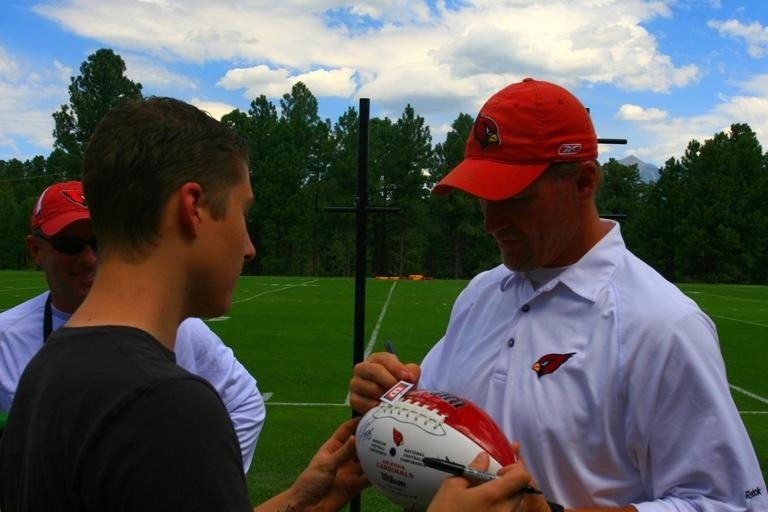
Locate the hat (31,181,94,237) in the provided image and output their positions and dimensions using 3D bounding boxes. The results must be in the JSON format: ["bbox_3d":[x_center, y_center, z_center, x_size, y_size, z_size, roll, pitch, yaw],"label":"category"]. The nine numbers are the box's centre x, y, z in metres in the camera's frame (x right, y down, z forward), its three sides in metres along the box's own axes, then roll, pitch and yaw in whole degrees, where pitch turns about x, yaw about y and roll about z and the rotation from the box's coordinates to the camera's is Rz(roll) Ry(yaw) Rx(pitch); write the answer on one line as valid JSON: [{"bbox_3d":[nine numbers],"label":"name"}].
[{"bbox_3d":[-1.833,-0.211,4.331,0.394,0.372,0.601,1,-6,-29],"label":"hat"}]
